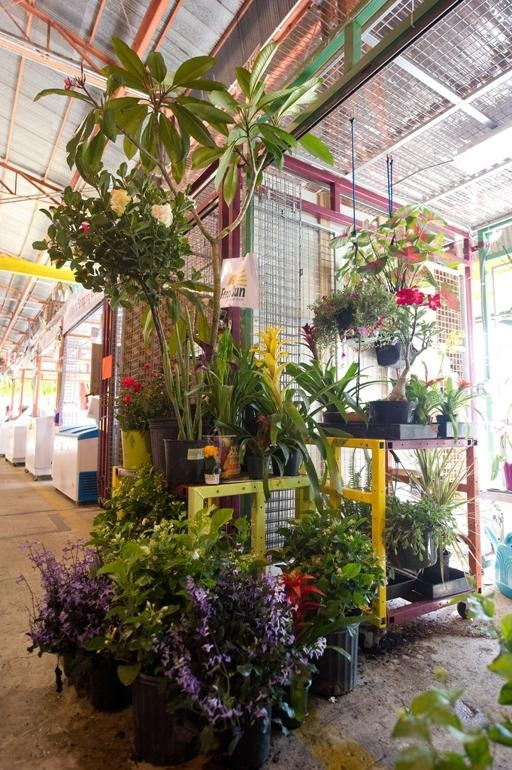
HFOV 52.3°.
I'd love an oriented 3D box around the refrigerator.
[{"bbox_3d":[-1.824,0.801,5.222,0.391,0.725,0.733,5,-8,-26],"label":"refrigerator"}]
